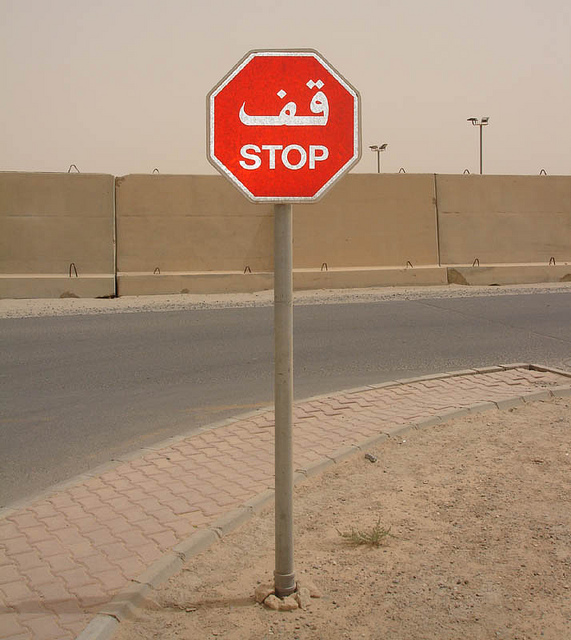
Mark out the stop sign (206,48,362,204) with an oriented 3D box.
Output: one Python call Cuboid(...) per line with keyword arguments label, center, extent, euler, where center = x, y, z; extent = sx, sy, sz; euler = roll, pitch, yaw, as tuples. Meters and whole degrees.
Cuboid(label="stop sign", center=(-0.001, -0.827, 3.845), extent=(0.719, 0.990, 0.098), euler=(0, -19, 1))
